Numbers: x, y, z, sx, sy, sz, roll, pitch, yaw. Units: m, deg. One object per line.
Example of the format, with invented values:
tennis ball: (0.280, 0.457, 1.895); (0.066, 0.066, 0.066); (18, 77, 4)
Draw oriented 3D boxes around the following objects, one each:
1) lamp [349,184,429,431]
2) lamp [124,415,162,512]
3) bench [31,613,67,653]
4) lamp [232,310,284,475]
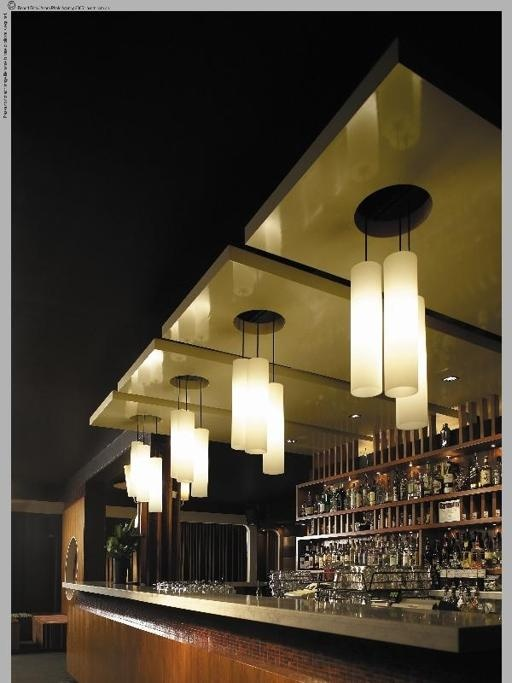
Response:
lamp: (0.472, -0.132, 2.390); (0.276, 0.788, 0.521); (-2, -12, 16)
lamp: (-0.915, 1.017, 5.698); (0.300, 0.758, 1.435); (3, -15, -9)
bench: (-2.686, 3.782, 9.016); (0.416, 0.358, 1.191); (6, -16, -16)
lamp: (0.014, 0.234, 3.414); (0.256, 0.792, 0.856); (1, -13, -2)
